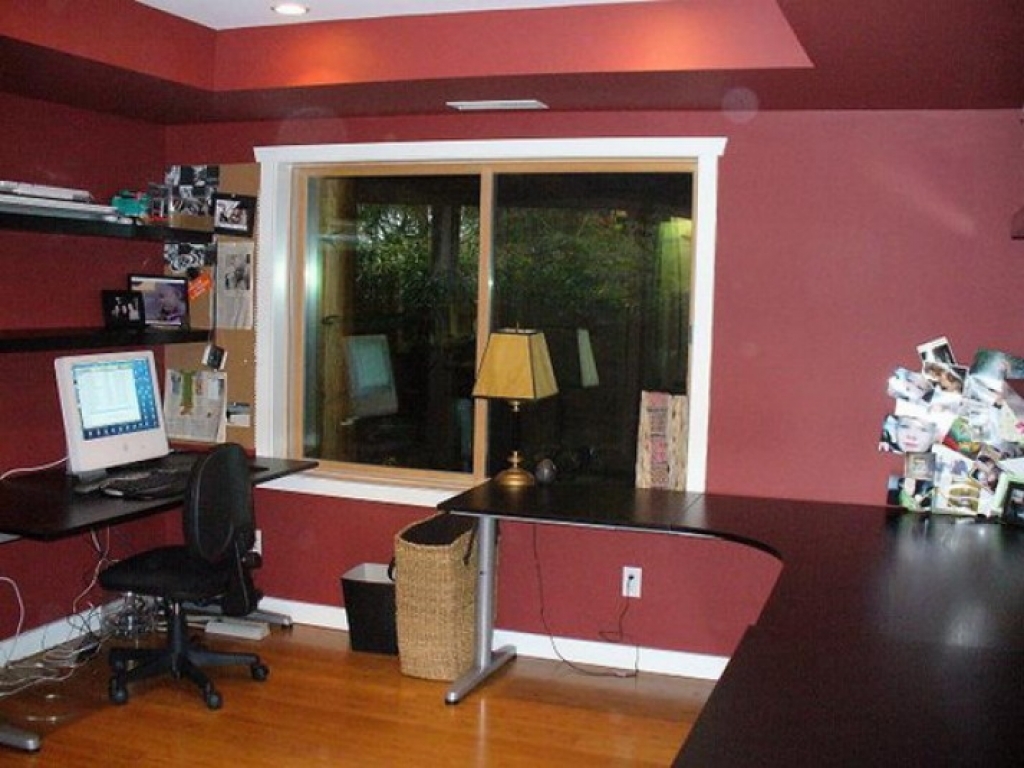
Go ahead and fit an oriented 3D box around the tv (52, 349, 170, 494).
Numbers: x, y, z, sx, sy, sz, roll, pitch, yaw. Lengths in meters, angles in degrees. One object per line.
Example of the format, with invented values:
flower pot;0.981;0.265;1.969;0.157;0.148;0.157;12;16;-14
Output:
tv;-1.930;0.192;4.039;0.291;0.660;0.582;0;6;23

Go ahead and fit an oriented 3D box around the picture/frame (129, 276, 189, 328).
picture/frame;-1.931;-0.446;4.587;0.287;0.254;0.029;0;0;-40

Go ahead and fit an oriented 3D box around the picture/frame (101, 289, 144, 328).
picture/frame;-2.040;-0.390;4.419;0.027;0.182;0.203;-6;-1;32

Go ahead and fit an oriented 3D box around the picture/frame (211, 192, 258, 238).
picture/frame;-1.527;-0.935;4.677;0.231;0.238;0.019;4;5;15

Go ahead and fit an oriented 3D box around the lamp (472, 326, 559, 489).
lamp;0.034;0.103;4.173;0.333;0.744;0.459;6;10;29

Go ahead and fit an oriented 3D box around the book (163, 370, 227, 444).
book;-1.801;0.124;4.837;0.393;0.477;0.046;1;0;19

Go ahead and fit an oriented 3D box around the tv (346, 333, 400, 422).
tv;-0.788;-0.050;4.668;0.357;0.548;0.120;-4;1;20
